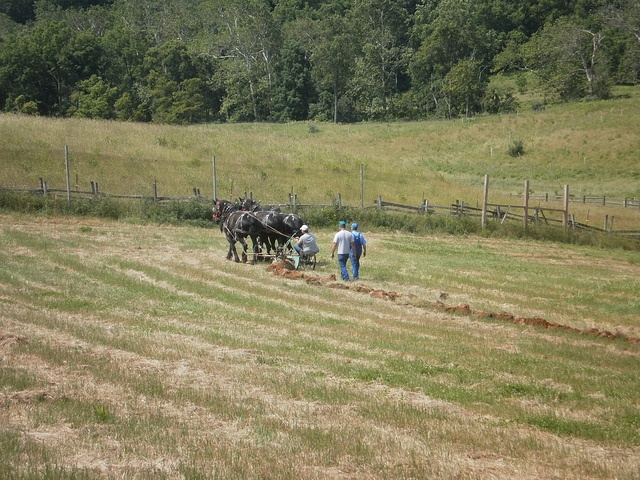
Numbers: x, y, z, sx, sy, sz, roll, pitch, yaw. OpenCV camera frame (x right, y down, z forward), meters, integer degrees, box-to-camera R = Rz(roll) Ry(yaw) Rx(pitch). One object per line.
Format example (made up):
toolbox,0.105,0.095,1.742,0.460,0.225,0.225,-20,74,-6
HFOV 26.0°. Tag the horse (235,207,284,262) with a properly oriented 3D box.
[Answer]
horse,-8.121,-0.416,208.980,5.527,7.865,3.180,3,4,-4

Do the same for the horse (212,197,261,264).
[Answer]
horse,-12.839,-1.882,210.076,5.075,10.669,5.649,-2,8,-15
